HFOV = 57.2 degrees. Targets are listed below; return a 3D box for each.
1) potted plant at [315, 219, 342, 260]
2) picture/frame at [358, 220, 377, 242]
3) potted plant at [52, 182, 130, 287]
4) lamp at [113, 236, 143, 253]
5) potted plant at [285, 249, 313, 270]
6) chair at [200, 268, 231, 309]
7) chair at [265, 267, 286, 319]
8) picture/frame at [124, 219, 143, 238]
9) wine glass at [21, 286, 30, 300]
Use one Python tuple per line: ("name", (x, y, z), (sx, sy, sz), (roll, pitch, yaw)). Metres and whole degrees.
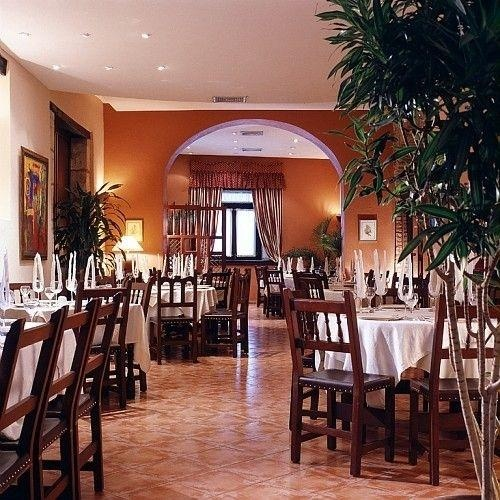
("potted plant", (2.451, -0.448, 14.299), (0.879, 1.242, 1.077), (-1, -2, 8))
("picture/frame", (2.632, -0.458, 10.377), (0.380, 0.591, 0.052), (0, -1, -7))
("potted plant", (-3.252, -0.332, 9.050), (1.130, 2.102, 1.291), (-3, 16, -30))
("lamp", (-2.733, -0.132, 10.127), (0.406, 0.295, 0.424), (-1, -1, 39))
("potted plant", (1.551, 0.180, 14.673), (0.659, 0.868, 0.751), (0, 1, -10))
("chair", (-0.560, 0.604, 7.861), (0.491, 1.009, 0.678), (2, -2, -15))
("chair", (0.628, 0.967, 10.698), (0.624, 1.073, 0.664), (1, -3, -30))
("picture/frame", (-2.686, -0.497, 10.426), (0.337, 0.590, 0.041), (1, -3, -13))
("wine glass", (-1.899, 0.370, 3.868), (0.074, 0.140, 0.394), (1, -3, -26))
